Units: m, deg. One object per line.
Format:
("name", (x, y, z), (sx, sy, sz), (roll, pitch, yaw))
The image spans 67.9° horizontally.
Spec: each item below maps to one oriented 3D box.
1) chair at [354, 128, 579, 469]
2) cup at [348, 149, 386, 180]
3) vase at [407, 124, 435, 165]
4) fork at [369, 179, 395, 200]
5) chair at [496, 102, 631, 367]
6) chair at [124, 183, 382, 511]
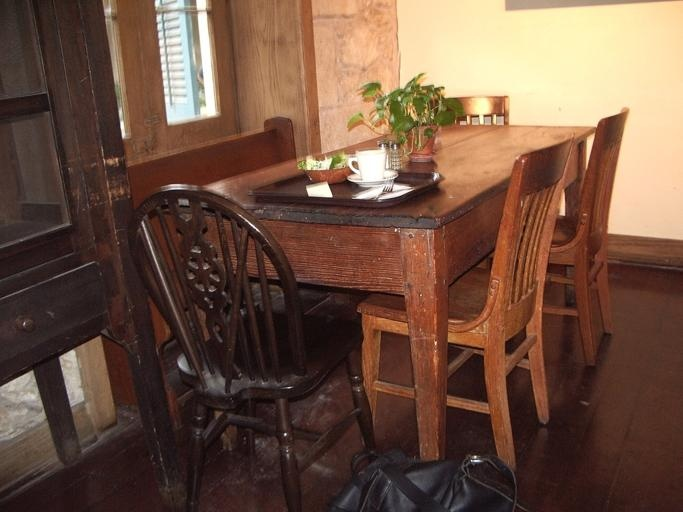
("chair", (0.449, 0.153, 1.858), (0.608, 1.090, 0.589), (10, 21, 39))
("cup", (0.092, -0.301, 1.723), (0.133, 0.106, 0.109), (-11, 21, -21))
("vase", (0.336, -0.468, 2.111), (0.138, 0.163, 0.145), (4, 14, 17))
("fork", (0.136, -0.219, 1.609), (0.028, 0.032, 0.201), (7, 25, 23))
("chair", (1.006, -0.115, 2.488), (0.677, 1.105, 0.601), (9, 22, 44))
("chair", (-0.295, 0.271, 1.583), (0.616, 1.069, 0.557), (13, 25, 41))
